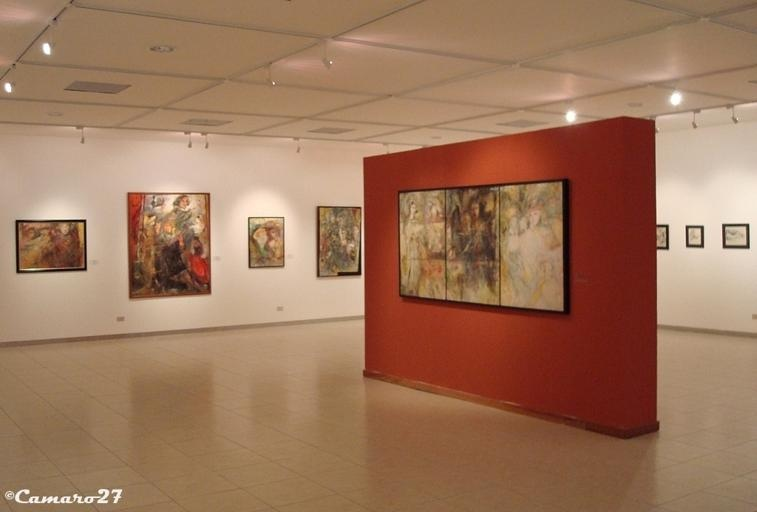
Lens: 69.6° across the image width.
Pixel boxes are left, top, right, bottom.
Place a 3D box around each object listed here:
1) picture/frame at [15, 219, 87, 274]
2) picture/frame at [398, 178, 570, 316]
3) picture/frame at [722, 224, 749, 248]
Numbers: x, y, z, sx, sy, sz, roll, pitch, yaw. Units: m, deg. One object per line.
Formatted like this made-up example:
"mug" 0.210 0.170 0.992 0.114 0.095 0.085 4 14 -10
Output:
"picture/frame" -9.269 -0.243 15.160 1.503 1.327 0.142 -1 3 -32
"picture/frame" 1.955 -0.157 9.608 0.096 1.590 2.653 -3 4 -41
"picture/frame" 10.155 -0.551 15.377 0.050 0.692 0.660 1 1 -36
